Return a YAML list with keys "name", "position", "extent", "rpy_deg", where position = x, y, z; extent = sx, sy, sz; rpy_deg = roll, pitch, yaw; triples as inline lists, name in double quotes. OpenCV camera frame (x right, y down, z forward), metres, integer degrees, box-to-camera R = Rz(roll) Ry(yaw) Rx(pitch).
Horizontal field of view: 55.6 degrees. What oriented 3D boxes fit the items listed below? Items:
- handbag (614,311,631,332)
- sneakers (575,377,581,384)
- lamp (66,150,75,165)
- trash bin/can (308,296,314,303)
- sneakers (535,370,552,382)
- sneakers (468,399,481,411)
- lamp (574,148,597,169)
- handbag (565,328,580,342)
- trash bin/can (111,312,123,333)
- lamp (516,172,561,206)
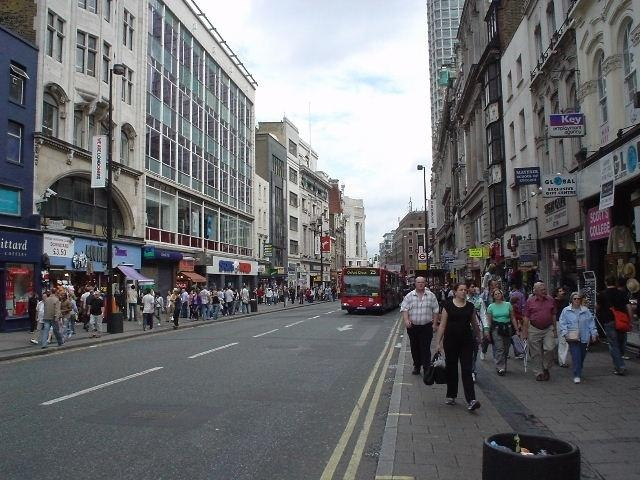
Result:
- name: "handbag"
  position: [7.118, 1.925, 14.297]
  extent: [0.337, 0.405, 0.161]
  rpy_deg: [7, -20, -31]
- name: "sneakers"
  position: [5.742, 3.130, 13.528]
  extent: [0.069, 0.105, 0.214]
  rpy_deg: [-4, -16, 15]
- name: "lamp"
  position: [-12.193, -4.088, 29.791]
  extent: [0.282, 0.737, 0.489]
  rpy_deg: [-4, -7, 10]
- name: "trash bin/can"
  position: [-1.068, 6.161, 63.498]
  extent: [0.529, 0.611, 1.009]
  rpy_deg: [-1, -14, 9]
- name: "sneakers"
  position: [5.150, 3.097, 13.921]
  extent: [0.433, 0.258, 0.238]
  rpy_deg: [0, -8, -21]
- name: "sneakers"
  position: [2.876, 3.072, 11.298]
  extent: [0.109, 0.146, 0.341]
  rpy_deg: [-3, -24, -3]
- name: "lamp"
  position: [9.373, -2.967, 21.489]
  extent: [0.595, 0.858, 0.570]
  rpy_deg: [-4, -9, 41]
- name: "handbag"
  position: [5.752, 2.182, 13.890]
  extent: [0.352, 0.423, 0.205]
  rpy_deg: [-1, -11, 20]
- name: "trash bin/can"
  position: [-8.517, 3.458, 25.383]
  extent: [0.363, 0.917, 0.872]
  rpy_deg: [-3, -8, 4]
- name: "lamp"
  position: [9.246, -2.179, 25.525]
  extent: [1.345, 1.159, 1.449]
  rpy_deg: [-3, -4, 31]
